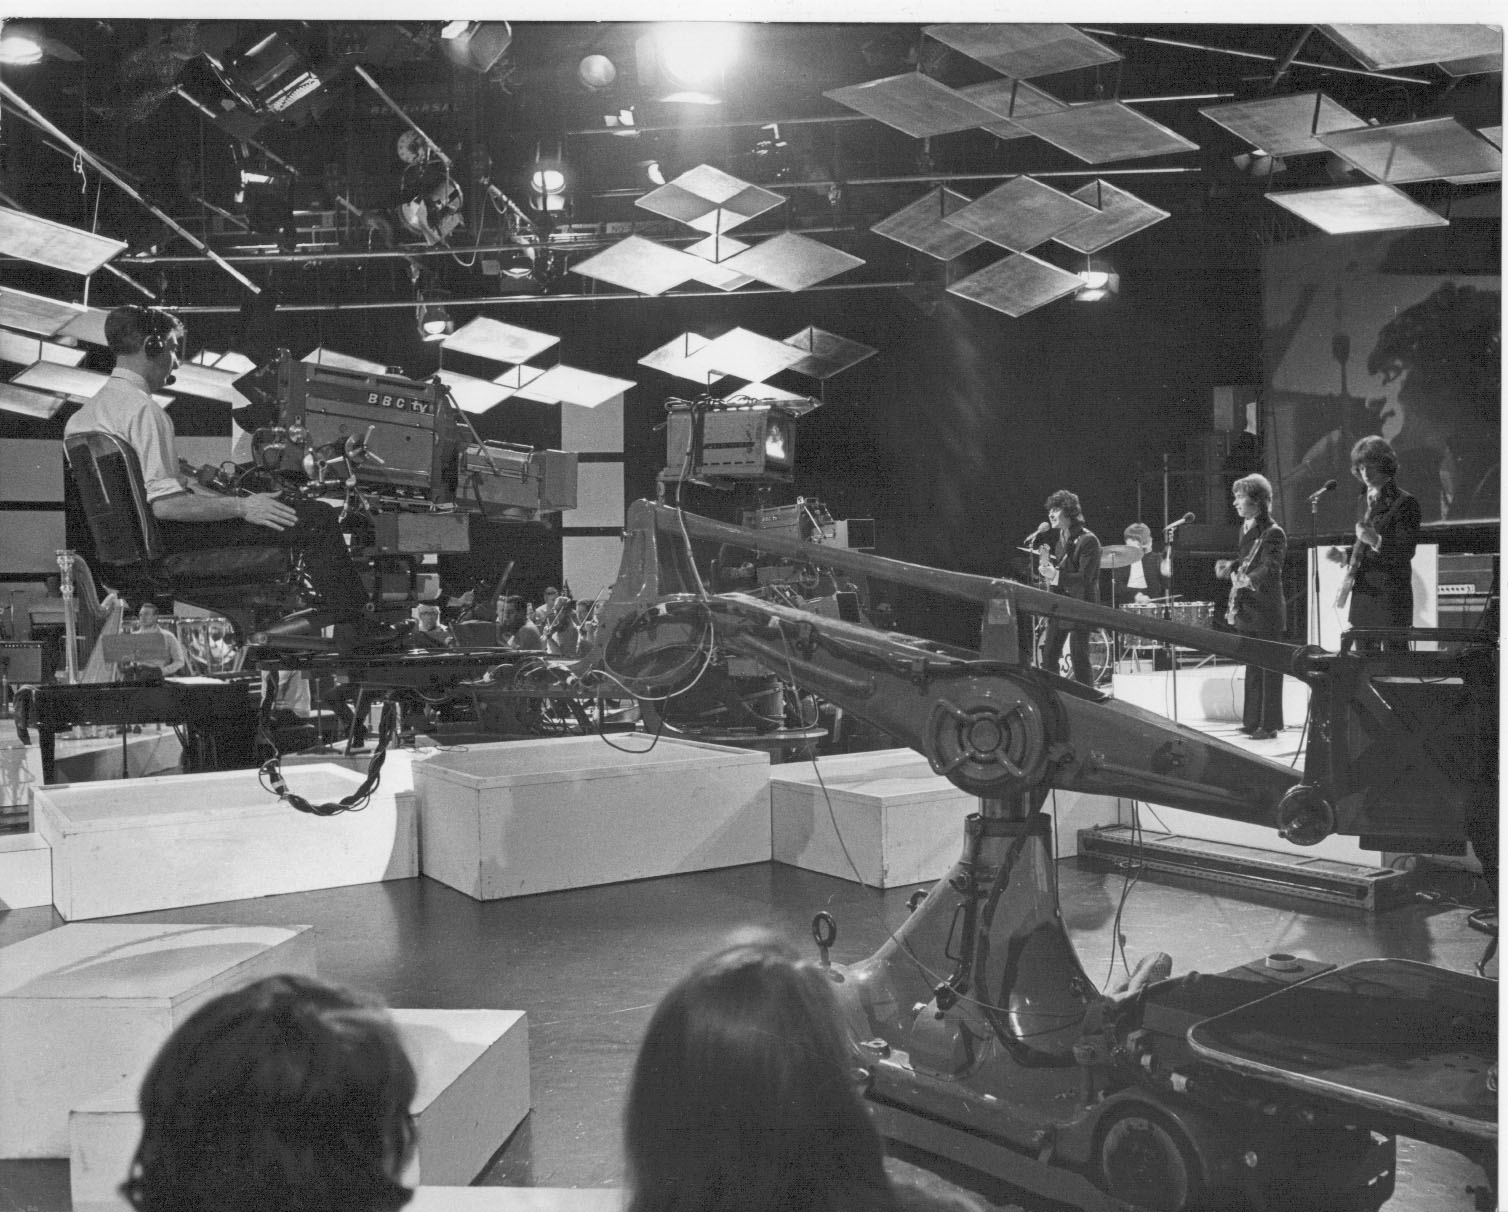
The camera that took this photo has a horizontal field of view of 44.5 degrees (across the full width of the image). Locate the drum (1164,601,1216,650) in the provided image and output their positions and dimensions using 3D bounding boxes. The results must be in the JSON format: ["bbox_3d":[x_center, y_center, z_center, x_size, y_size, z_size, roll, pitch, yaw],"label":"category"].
[{"bbox_3d":[1.114,0.050,4.762,0.135,0.134,0.123,1,2,-19],"label":"drum"}]

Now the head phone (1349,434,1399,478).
[{"bbox_3d":[1.675,-0.397,4.972,0.090,0.124,0.117,-2,9,-23],"label":"head phone"}]

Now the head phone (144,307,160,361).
[{"bbox_3d":[-1.712,-0.777,5.246,0.049,0.147,0.125,-3,-8,-11],"label":"head phone"}]

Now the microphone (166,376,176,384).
[{"bbox_3d":[-1.652,-0.640,5.239,0.006,0.022,0.021,6,-4,-37],"label":"microphone"}]

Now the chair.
[{"bbox_3d":[-1.504,-0.209,5.323,0.618,0.663,0.410,1,1,11],"label":"chair"}]

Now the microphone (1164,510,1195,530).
[{"bbox_3d":[1.149,-0.227,4.956,0.062,0.018,0.045,-34,3,-24],"label":"microphone"}]

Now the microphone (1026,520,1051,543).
[{"bbox_3d":[0.764,-0.194,4.919,0.030,0.074,0.038,40,-18,15],"label":"microphone"}]

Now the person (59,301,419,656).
[{"bbox_3d":[-1.528,-0.353,5.340,0.745,1.044,0.467,-14,20,-25],"label":"person"}]

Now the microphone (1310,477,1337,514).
[{"bbox_3d":[1.539,-0.294,4.968,0.038,0.099,0.023,28,0,1],"label":"microphone"}]
